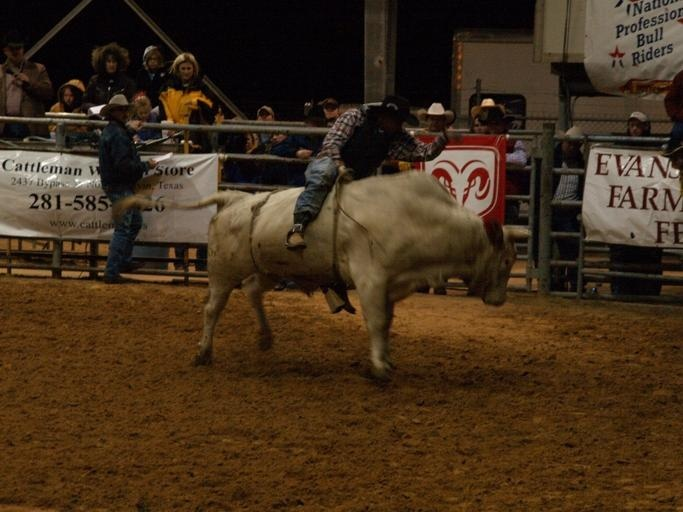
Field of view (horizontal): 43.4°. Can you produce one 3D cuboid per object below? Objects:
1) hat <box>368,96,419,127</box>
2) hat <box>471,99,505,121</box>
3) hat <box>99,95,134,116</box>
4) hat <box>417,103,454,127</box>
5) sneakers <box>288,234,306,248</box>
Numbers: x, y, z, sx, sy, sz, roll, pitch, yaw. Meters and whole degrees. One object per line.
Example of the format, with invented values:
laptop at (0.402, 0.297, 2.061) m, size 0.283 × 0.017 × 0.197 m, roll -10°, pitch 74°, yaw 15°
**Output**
hat at (0.498, -1.436, 8.424) m, size 0.434 × 0.282 × 0.483 m, roll 6°, pitch 15°, yaw 17°
hat at (2.136, -2.193, 12.604) m, size 0.519 × 0.212 × 0.551 m, roll 2°, pitch -18°, yaw 1°
hat at (-2.971, -1.993, 11.209) m, size 0.346 × 0.112 × 0.284 m, roll -5°, pitch -14°, yaw 8°
hat at (1.448, -2.144, 12.858) m, size 0.550 × 0.215 × 0.600 m, roll 1°, pitch -9°, yaw 2°
sneakers at (-0.428, -0.142, 7.957) m, size 0.175 × 0.144 × 0.159 m, roll 0°, pitch 15°, yaw -4°
